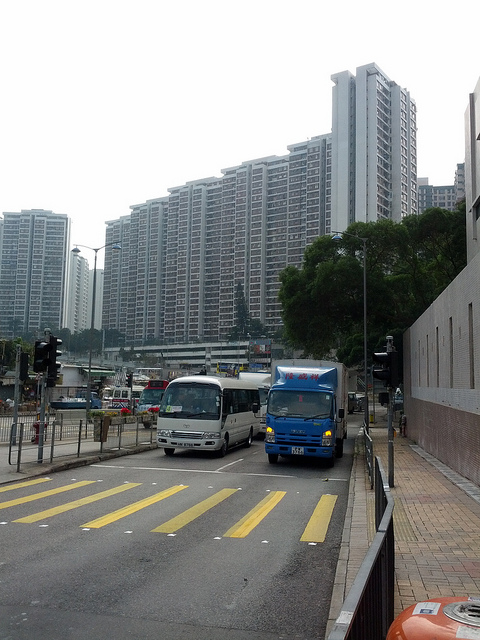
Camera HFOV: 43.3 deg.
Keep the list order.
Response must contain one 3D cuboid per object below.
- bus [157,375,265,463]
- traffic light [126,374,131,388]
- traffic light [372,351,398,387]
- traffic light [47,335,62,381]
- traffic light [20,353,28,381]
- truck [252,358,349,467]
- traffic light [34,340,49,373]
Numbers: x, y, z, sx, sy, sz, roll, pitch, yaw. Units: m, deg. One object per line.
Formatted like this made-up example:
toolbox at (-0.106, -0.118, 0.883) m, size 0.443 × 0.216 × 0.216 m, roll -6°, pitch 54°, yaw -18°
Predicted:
bus at (-0.864, 3.405, 22.197) m, size 1.961 × 2.809 × 6.170 m, roll -1°, pitch -7°, yaw 16°
traffic light at (-7.348, 3.993, 40.404) m, size 0.190 × 0.751 × 1.762 m, roll 0°, pitch -5°, yaw -12°
traffic light at (3.203, 1.089, 13.559) m, size 0.552 × 0.808 × 0.894 m, roll -1°, pitch -4°, yaw 13°
traffic light at (-5.000, 1.005, 16.430) m, size 0.322 × 1.266 × 1.887 m, roll 1°, pitch -5°, yaw -17°
traffic light at (-5.905, 1.273, 16.683) m, size 0.199 × 0.714 × 0.853 m, roll 1°, pitch -4°, yaw -20°
truck at (2.121, 2.946, 19.200) m, size 1.639 × 2.346 × 4.197 m, roll 0°, pitch -11°, yaw 12°
traffic light at (-5.054, 0.912, 15.554) m, size 0.348 × 0.833 × 0.633 m, roll 1°, pitch -4°, yaw -19°
